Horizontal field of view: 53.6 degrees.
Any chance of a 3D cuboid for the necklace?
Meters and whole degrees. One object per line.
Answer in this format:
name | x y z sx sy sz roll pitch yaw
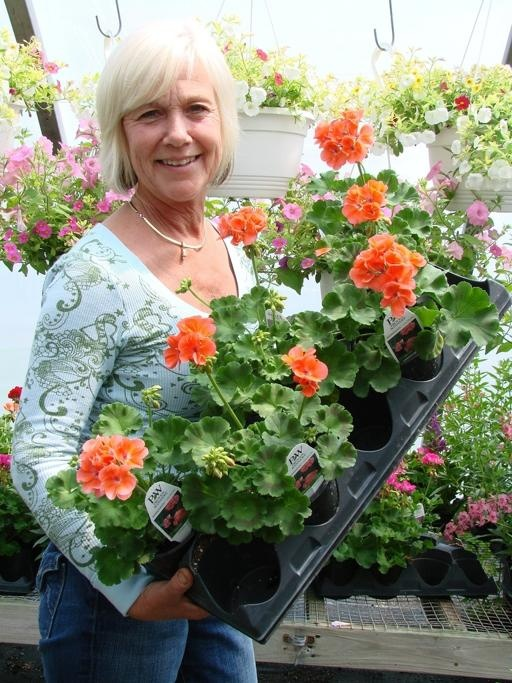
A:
necklace | -0.155 -0.167 0.834 0.033 0.114 0.090 -34 11 43
